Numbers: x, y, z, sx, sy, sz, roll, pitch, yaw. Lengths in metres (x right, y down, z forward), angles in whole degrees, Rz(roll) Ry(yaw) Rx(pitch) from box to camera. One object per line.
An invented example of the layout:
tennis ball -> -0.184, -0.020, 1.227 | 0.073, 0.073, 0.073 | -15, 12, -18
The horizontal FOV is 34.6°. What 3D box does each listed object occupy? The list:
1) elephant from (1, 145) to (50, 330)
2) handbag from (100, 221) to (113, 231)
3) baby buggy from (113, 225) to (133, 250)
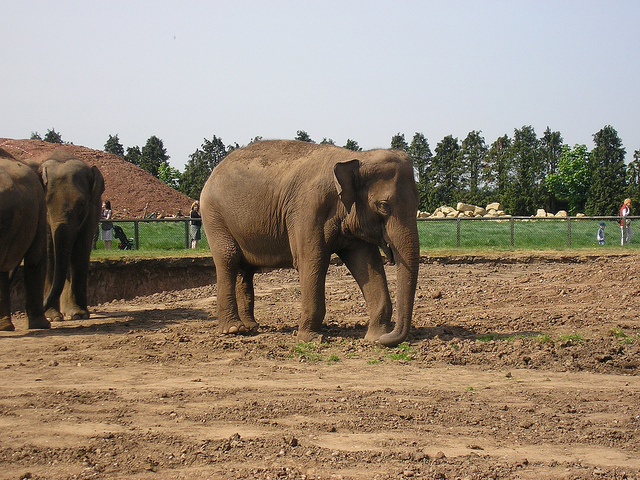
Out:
elephant -> -4.950, 0.191, 17.279 | 0.794, 3.086, 2.078 | -3, 14, -14
handbag -> -5.582, -0.361, 27.106 | 0.299, 0.433, 0.226 | 4, 0, 0
baby buggy -> -5.290, -0.031, 27.721 | 0.343, 0.549, 1.017 | -9, 17, -33
